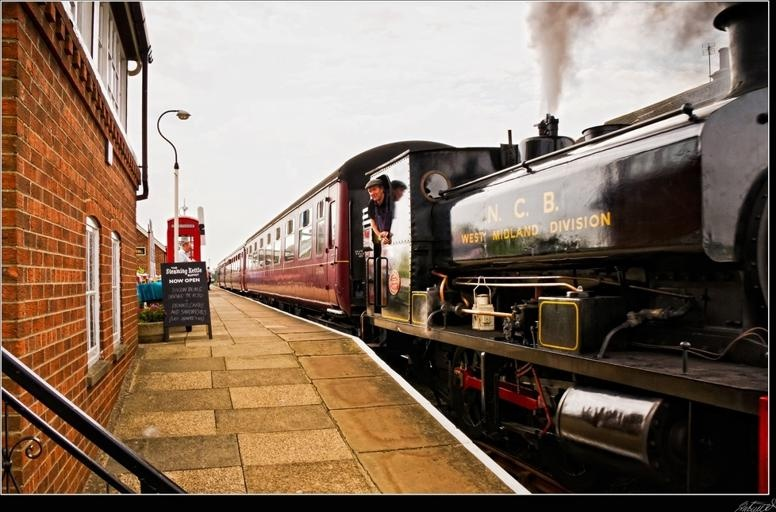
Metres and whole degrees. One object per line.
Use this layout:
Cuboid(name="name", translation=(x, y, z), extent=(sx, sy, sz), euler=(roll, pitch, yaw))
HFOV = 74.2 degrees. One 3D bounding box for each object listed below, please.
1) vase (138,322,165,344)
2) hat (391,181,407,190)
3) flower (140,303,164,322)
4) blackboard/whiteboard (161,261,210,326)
Cuboid(name="vase", translation=(-4.277, 1.393, 9.341), extent=(0.375, 0.261, 0.367), euler=(-4, -5, 33))
Cuboid(name="hat", translation=(0.159, -1.063, 7.603), extent=(0.139, 0.136, 0.182), euler=(-1, -3, -45))
Cuboid(name="flower", translation=(-4.554, 1.118, 9.970), extent=(0.467, 0.371, 0.459), euler=(0, -8, 13))
Cuboid(name="blackboard/whiteboard", translation=(-3.826, 0.708, 9.761), extent=(0.798, 1.138, 0.733), euler=(-3, 11, -23))
